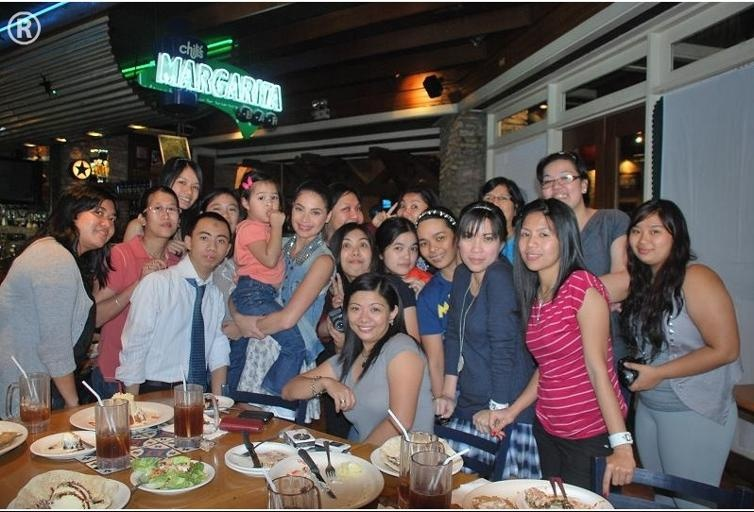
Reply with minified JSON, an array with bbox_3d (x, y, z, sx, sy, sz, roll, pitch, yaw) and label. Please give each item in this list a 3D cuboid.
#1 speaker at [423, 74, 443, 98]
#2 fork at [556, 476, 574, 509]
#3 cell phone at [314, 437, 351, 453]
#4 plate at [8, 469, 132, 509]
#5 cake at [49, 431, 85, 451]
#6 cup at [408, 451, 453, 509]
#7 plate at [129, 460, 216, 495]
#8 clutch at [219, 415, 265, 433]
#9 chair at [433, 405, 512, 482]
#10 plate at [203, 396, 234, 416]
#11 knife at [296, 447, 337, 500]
[{"bbox_3d":[0.815,-2.347,7.448,0.310,0.276,0.232,1,5,-18],"label":"speaker"},{"bbox_3d":[0.814,1.034,2.355,0.042,0.016,0.115,-2,36,1],"label":"fork"},{"bbox_3d":[-0.224,0.936,2.679,0.130,0.035,0.097,4,2,26],"label":"cell phone"},{"bbox_3d":[-1.284,0.998,2.291,0.300,0.047,0.246,6,8,-34],"label":"plate"},{"bbox_3d":[-1.497,0.903,2.623,0.082,0.043,0.123,1,-1,7],"label":"cake"},{"bbox_3d":[0.234,0.961,2.324,0.183,0.223,0.152,4,5,8],"label":"cup"},{"bbox_3d":[-0.927,1.013,2.532,0.360,0.111,0.341,-3,-25,-4],"label":"plate"},{"bbox_3d":[-0.707,0.868,2.824,0.173,0.042,0.090,4,1,2],"label":"clutch"},{"bbox_3d":[0.552,1.062,3.088,0.456,0.347,0.347,-15,-42,29],"label":"chair"},{"bbox_3d":[-0.858,0.800,2.968,0.134,0.028,0.132,3,4,28],"label":"plate"},{"bbox_3d":[-0.269,0.976,2.406,0.033,0.037,0.283,0,30,-39],"label":"knife"}]
